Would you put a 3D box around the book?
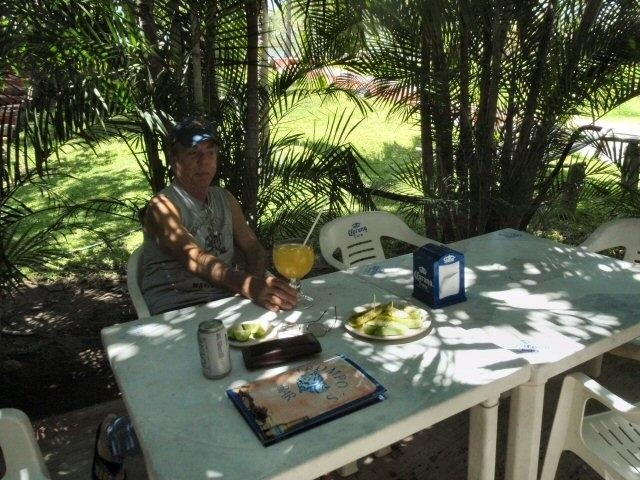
[{"bbox_3d":[-0.037,0.422,1.227,0.279,0.029,0.187,-11,22,-26],"label":"book"}]
